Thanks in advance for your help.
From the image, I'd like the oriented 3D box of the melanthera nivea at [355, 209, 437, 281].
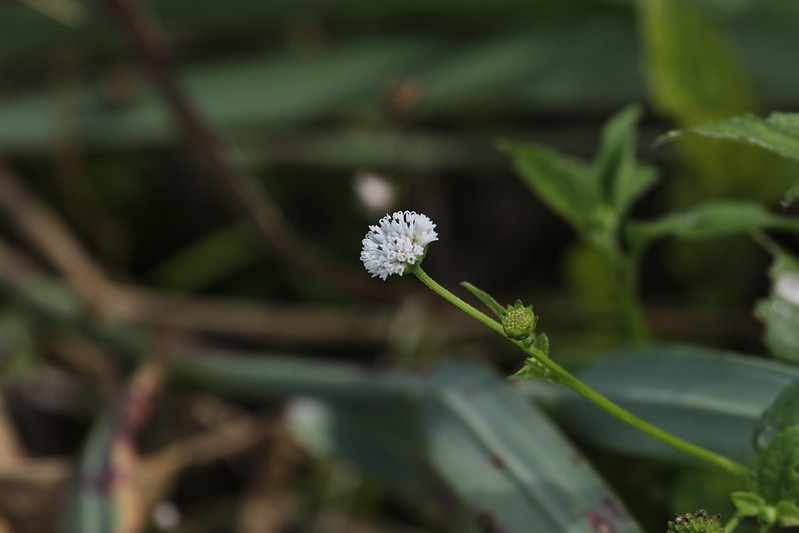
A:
[{"bbox_3d":[0.008,-0.033,1.131,0.089,0.094,0.105,-8,0,38],"label":"melanthera nivea"}]
